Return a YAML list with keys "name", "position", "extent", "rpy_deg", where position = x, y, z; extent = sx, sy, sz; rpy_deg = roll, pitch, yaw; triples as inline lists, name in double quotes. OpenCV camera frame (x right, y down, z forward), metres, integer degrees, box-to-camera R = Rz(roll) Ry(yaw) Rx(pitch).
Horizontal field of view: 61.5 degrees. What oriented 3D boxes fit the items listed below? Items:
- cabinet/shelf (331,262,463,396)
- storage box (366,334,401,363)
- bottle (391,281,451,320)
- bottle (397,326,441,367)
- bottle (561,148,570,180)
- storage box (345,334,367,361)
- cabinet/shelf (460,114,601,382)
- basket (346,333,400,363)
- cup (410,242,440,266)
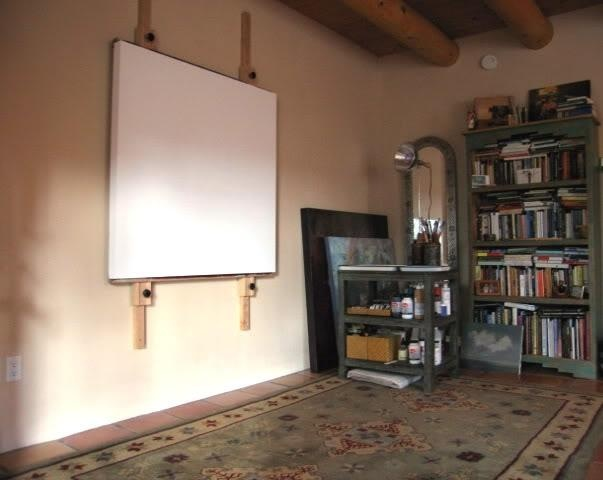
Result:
- name: "cabinet/shelf"
  position: [0.882, 0.728, 4.393]
  extent: [0.823, 0.824, 0.959]
  rpy_deg: [4, -7, -44]
- name: "storage box"
  position: [0.686, 0.905, 4.272]
  extent: [0.235, 0.157, 0.235]
  rpy_deg: [-2, -3, 32]
- name: "bottle"
  position: [1.058, 0.490, 4.267]
  extent: [0.366, 0.301, 0.644]
  rpy_deg: [2, 4, 40]
- name: "bottle"
  position: [0.978, 0.882, 4.249]
  extent: [0.464, 0.348, 0.262]
  rpy_deg: [2, -1, 26]
- name: "bottle"
  position: [2.296, -0.651, 4.413]
  extent: [0.065, 0.242, 0.031]
  rpy_deg: [2, 5, 41]
- name: "storage box"
  position: [0.464, 0.908, 4.296]
  extent: [0.203, 0.180, 0.213]
  rpy_deg: [-4, -6, 34]
- name: "cabinet/shelf"
  position: [2.080, 0.037, 4.572]
  extent: [1.148, 2.205, 0.410]
  rpy_deg: [2, 5, 37]
- name: "basket"
  position: [0.592, 0.845, 4.246]
  extent: [0.341, 0.157, 0.258]
  rpy_deg: [-2, -5, 42]
- name: "cup"
  position: [1.197, 0.126, 4.711]
  extent: [0.235, 0.208, 0.220]
  rpy_deg: [-1, -3, 0]
